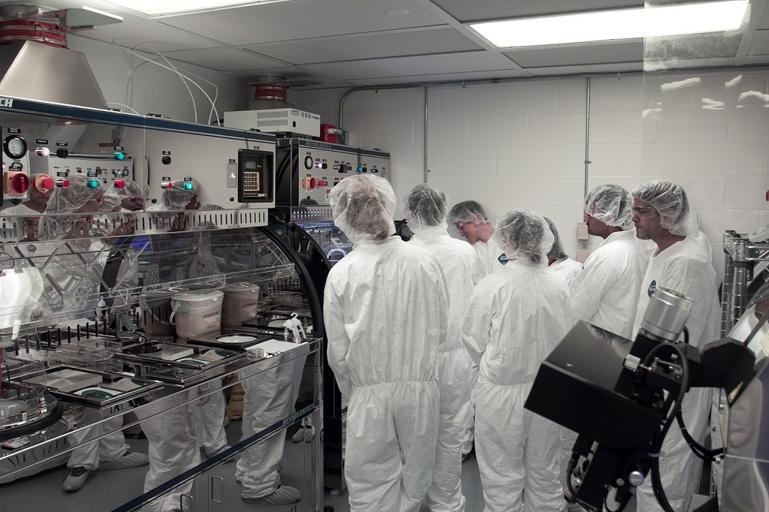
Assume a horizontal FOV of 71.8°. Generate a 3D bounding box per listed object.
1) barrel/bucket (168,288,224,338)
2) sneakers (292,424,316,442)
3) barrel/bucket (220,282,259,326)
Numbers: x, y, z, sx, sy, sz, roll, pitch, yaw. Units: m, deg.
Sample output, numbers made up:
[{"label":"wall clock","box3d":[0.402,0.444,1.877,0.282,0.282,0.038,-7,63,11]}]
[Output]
[{"label":"barrel/bucket","box3d":[-0.981,0.315,2.785,0.202,0.219,0.283,2,6,20]},{"label":"sneakers","box3d":[-0.435,0.973,2.865,0.051,0.056,0.147,1,-7,19]},{"label":"barrel/bucket","box3d":[-0.784,0.261,2.882,0.219,0.189,0.227,-1,0,0]}]
